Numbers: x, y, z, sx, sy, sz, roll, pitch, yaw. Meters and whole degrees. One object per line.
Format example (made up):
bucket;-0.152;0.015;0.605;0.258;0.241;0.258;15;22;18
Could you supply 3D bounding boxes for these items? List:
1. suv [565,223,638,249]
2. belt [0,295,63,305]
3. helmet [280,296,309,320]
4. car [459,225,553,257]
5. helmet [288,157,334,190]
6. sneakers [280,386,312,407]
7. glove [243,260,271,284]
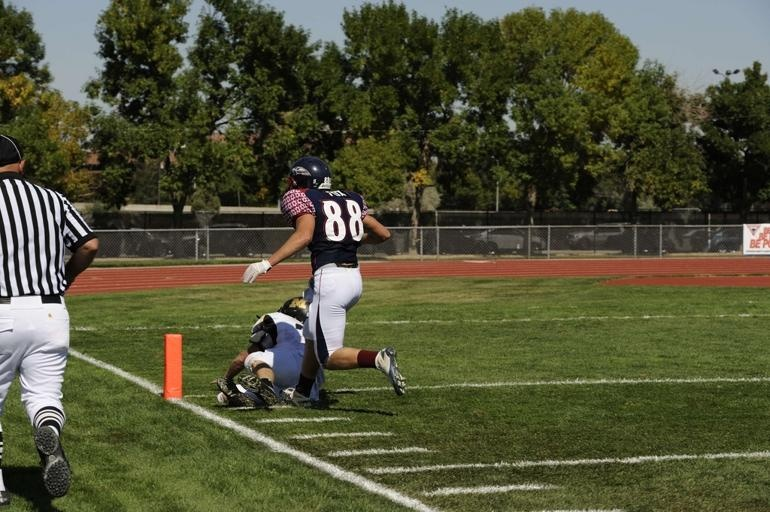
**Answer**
suv;9.214;-0.800;44.648;2.125;0.805;1.313;3;0;0
belt;-4.888;0.582;14.444;0.792;0.114;0.040;2;-1;-14
helmet;-1.450;0.850;17.501;0.491;0.358;0.383;16;-5;28
car;5.202;-0.660;44.454;3.493;0.915;1.082;1;-1;20
helmet;-1.138;-1.366;16.843;0.661;0.486;0.487;23;20;23
sneakers;-1.445;2.298;17.204;0.630;0.249;0.209;14;8;-6
glove;-1.933;0.246;16.184;0.486;0.271;0.168;-30;-37;8
